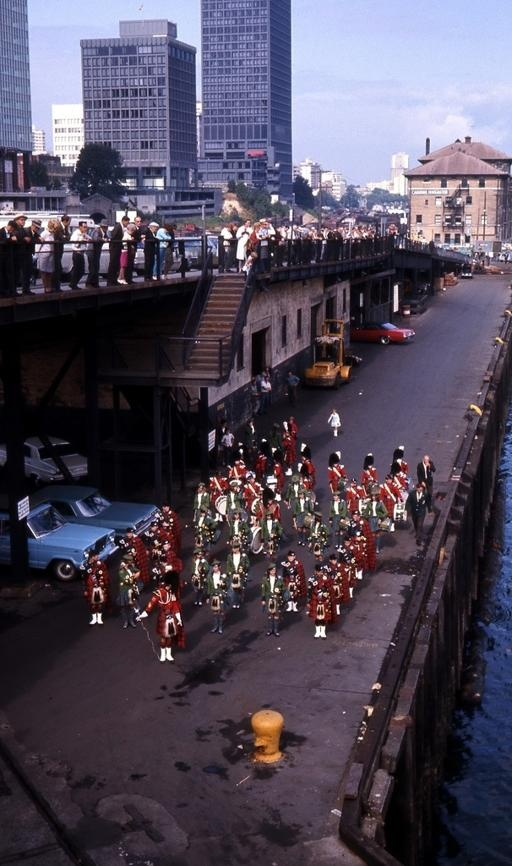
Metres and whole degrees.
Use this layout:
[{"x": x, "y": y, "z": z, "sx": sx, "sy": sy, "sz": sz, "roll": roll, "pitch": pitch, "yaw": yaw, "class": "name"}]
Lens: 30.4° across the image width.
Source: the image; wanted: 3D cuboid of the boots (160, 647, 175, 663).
[{"x": -1.546, "y": 3.786, "z": 16.130, "sx": 0.144, "sy": 0.329, "sz": 0.311, "roll": 4, "pitch": -11, "yaw": -5, "class": "boots"}]

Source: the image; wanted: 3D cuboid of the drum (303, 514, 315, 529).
[{"x": 1.192, "y": 1.991, "z": 21.240, "sx": 0.218, "sy": 0.276, "sz": 0.387, "roll": 12, "pitch": -16, "yaw": 7, "class": "drum"}]

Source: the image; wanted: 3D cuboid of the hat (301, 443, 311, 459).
[{"x": 1.465, "y": 0.555, "z": 27.890, "sx": 0.366, "sy": 0.399, "sz": 0.678, "roll": 3, "pitch": 6, "yaw": 4, "class": "hat"}]

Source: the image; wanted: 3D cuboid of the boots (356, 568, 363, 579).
[{"x": 2.219, "y": 3.049, "z": 20.311, "sx": 0.169, "sy": 0.253, "sz": 0.070, "roll": 1, "pitch": -2, "yaw": -16, "class": "boots"}]

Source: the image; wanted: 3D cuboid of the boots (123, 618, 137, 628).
[{"x": -2.411, "y": 3.597, "z": 17.867, "sx": 0.152, "sy": 0.192, "sz": 0.184, "roll": 1, "pitch": -14, "yaw": -18, "class": "boots"}]

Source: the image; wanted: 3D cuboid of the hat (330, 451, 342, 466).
[{"x": 2.127, "y": 0.712, "z": 24.969, "sx": 0.274, "sy": 0.510, "sz": 0.347, "roll": 4, "pitch": -2, "yaw": -15, "class": "hat"}]
